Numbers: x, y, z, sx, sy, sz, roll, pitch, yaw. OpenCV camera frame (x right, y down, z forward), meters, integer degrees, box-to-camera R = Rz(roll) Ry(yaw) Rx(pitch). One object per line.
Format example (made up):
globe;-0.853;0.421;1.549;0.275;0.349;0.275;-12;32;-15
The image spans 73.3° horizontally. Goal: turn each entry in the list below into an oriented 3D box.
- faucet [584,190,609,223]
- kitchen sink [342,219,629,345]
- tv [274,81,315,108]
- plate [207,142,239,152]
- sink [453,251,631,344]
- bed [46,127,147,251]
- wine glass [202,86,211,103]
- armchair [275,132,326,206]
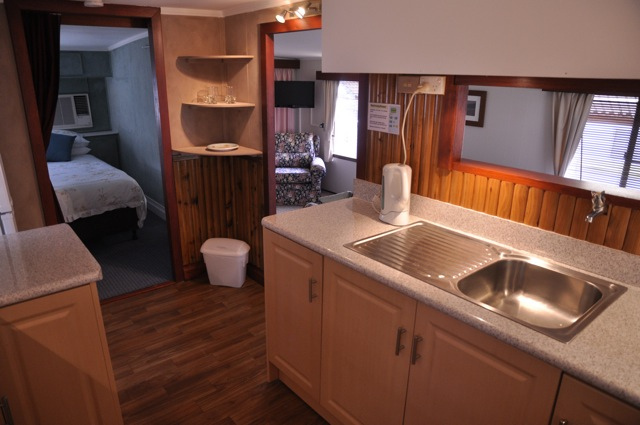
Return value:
faucet;1.396;-0.010;2.174;0.097;0.176;0.143;10;23;31
kitchen sink;0.861;0.385;2.342;1.272;0.350;0.616;13;24;37
tv;-0.433;-1.994;7.255;0.738;0.442;0.059;6;16;20
plate;-0.901;-0.618;4.016;0.259;0.035;0.374;-1;19;1
sink;1.086;0.460;2.194;0.763;0.294;0.551;-14;23;-33
bed;-2.626;-0.295;5.630;0.926;1.012;1.675;-8;15;-5
wine glass;-1.044;-1.077;3.924;0.074;0.134;0.192;-7;20;-13
armchair;-0.357;-0.757;7.120;1.076;1.231;1.094;0;14;-3
